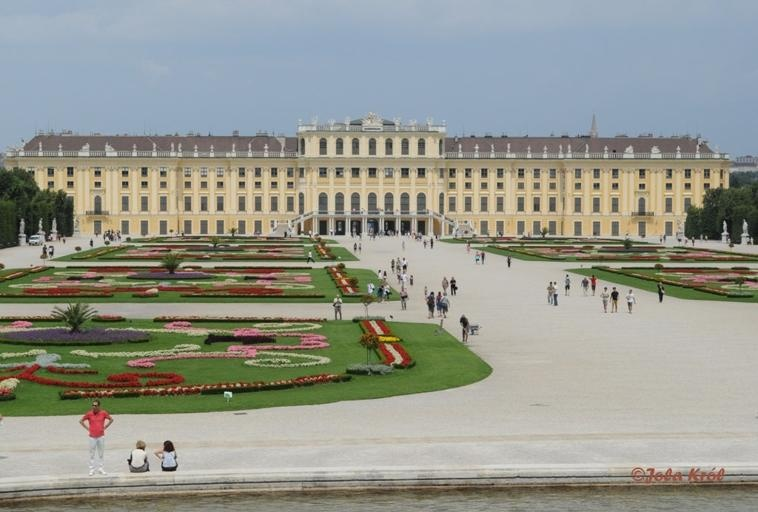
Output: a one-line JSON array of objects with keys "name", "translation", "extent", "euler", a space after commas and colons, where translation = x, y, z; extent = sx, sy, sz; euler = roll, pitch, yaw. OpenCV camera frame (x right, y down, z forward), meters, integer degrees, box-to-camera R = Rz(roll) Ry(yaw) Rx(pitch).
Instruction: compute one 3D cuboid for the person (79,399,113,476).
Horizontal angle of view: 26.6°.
[{"name": "person", "translation": [-10.837, 6.937, 61.049], "extent": [1.493, 2.629, 0.782], "euler": [3, -5, -40]}]
